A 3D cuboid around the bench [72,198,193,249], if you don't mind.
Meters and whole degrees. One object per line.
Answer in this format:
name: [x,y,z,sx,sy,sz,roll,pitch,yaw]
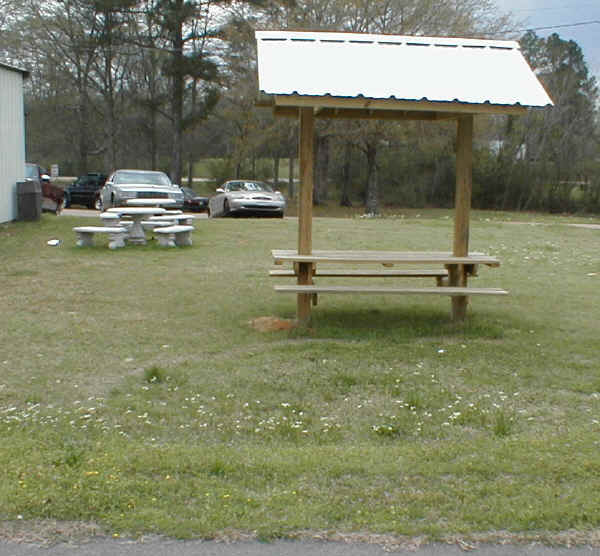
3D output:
bench: [-3.769,-1.301,29.315,2.530,0.948,4.967,0,8,-3]
